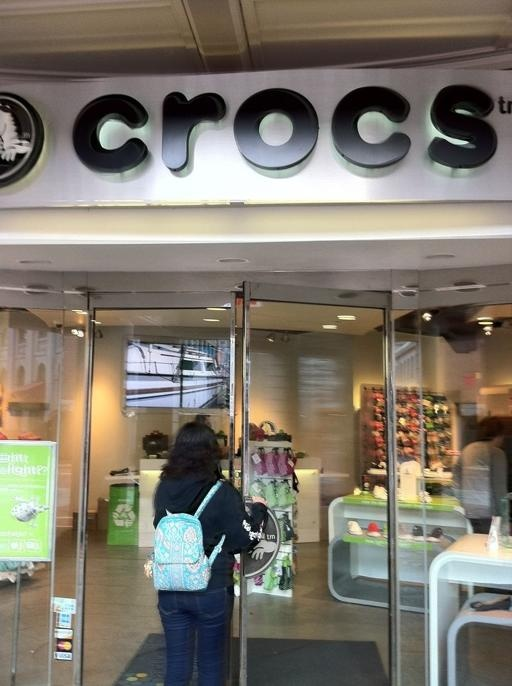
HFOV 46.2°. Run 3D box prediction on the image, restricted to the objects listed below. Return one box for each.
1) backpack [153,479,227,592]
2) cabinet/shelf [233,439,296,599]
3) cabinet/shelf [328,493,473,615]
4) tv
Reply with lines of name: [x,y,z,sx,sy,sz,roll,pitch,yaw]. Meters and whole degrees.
backpack: [-0.313,1.024,3.072,0.351,0.466,0.506,-3,-9,12]
cabinet/shelf: [0.064,1.029,3.607,0.334,0.840,0.245,2,-36,2]
cabinet/shelf: [0.842,1.239,3.582,0.785,0.615,0.264,0,-3,27]
tv: [-0.490,0.196,3.690,0.653,0.413,0.060,-1,-6,14]
